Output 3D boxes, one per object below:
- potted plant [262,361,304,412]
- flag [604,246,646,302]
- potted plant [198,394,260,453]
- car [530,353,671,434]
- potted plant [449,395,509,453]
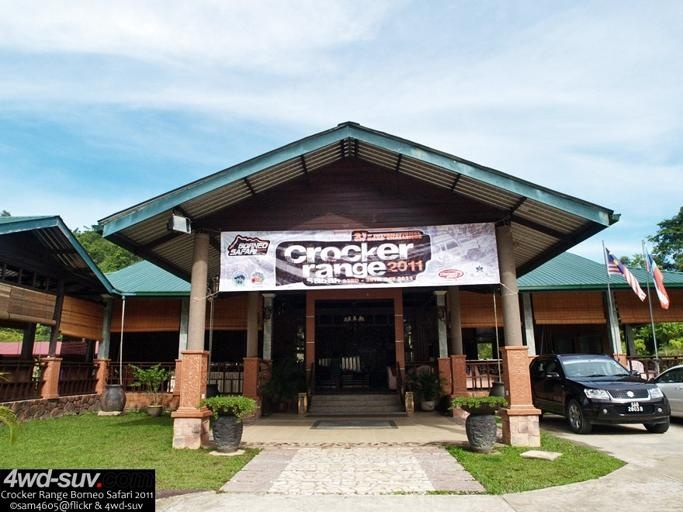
[{"bbox_3d":[-2.112,4.654,16.486,1.546,1.865,1.237,2,-15,-7],"label":"potted plant"},{"bbox_3d":[10.345,0.690,16.744,0.939,1.840,3.032,-9,-15,30],"label":"flag"},{"bbox_3d":[-2.415,3.524,9.759,1.673,1.169,1.271,3,-16,-8],"label":"potted plant"},{"bbox_3d":[6.579,3.629,12.391,2.132,1.900,3.444,3,-13,-14],"label":"car"},{"bbox_3d":[2.843,3.431,9.325,0.882,1.100,0.737,-9,-17,30],"label":"potted plant"}]
